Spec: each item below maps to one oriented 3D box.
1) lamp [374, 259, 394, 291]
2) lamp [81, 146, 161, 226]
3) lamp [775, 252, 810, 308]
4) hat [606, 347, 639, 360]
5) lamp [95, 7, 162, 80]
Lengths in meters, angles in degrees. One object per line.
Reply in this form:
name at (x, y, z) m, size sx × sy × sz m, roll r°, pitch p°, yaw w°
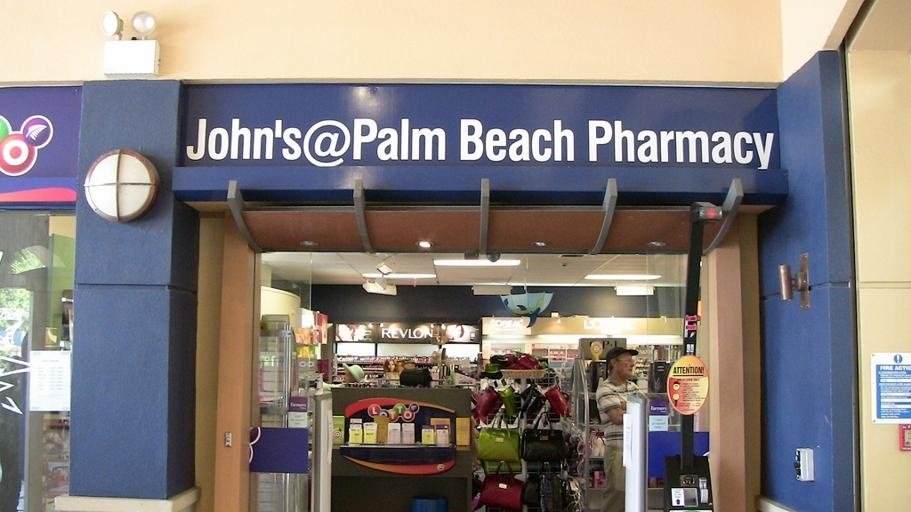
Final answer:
lamp at (-1.431, 0.462, 17.260) m, size 0.422 × 0.238 × 0.679 m, roll 8°, pitch -33°, yaw -13°
lamp at (-3.020, -0.634, 7.826) m, size 0.610 × 0.637 × 0.208 m, roll -3°, pitch -13°, yaw 13°
lamp at (2.999, 0.241, 7.676) m, size 0.250 × 0.476 × 0.173 m, roll -4°, pitch -13°, yaw 20°
hat at (1.775, 1.046, 9.264) m, size 0.306 × 0.096 × 0.210 m, roll -6°, pitch -6°, yaw 0°
lamp at (-3.009, -1.926, 7.984) m, size 0.695 × 0.665 × 0.270 m, roll 0°, pitch -9°, yaw -3°
